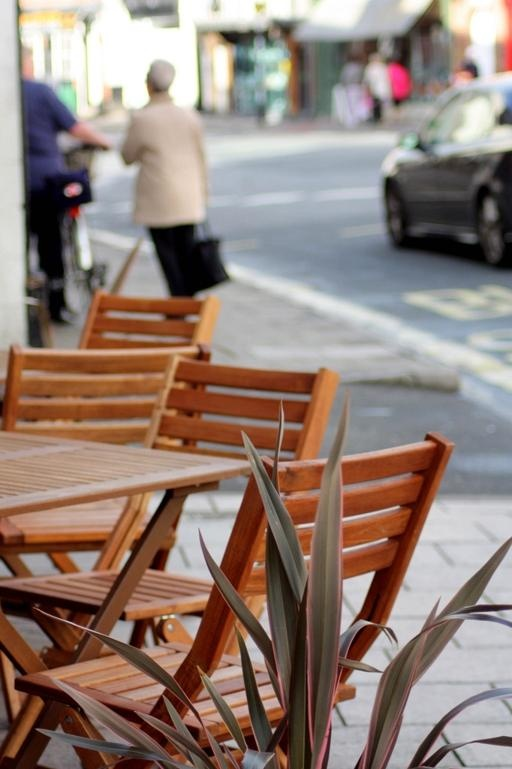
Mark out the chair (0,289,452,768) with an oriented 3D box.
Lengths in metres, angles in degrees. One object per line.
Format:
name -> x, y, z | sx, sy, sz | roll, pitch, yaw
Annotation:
chair -> -0.038, 0.310, 1.739 | 0.684, 0.853, 0.589 | 19, 9, 25

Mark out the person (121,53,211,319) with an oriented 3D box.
person -> -0.476, -1.095, 5.261 | 0.381, 1.207, 0.251 | -14, 19, -38
